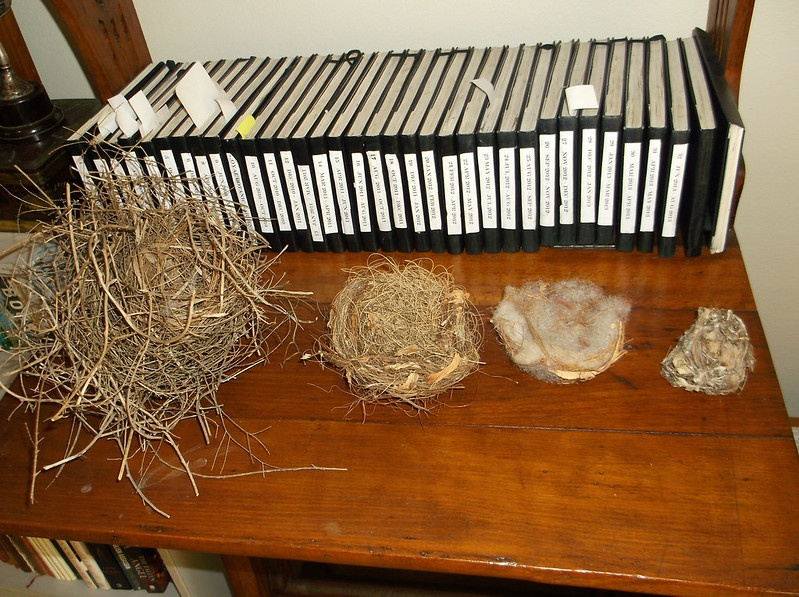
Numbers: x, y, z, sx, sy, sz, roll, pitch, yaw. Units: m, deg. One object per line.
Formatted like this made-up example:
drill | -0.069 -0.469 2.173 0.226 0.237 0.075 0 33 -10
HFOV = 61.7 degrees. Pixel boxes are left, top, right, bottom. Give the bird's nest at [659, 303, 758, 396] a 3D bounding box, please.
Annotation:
bird's nest | 0.447 0.075 0.952 0.141 0.122 0.043 27 -13 31

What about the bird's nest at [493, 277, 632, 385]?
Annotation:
bird's nest | 0.247 0.038 1.051 0.254 0.166 0.064 9 -34 -10
